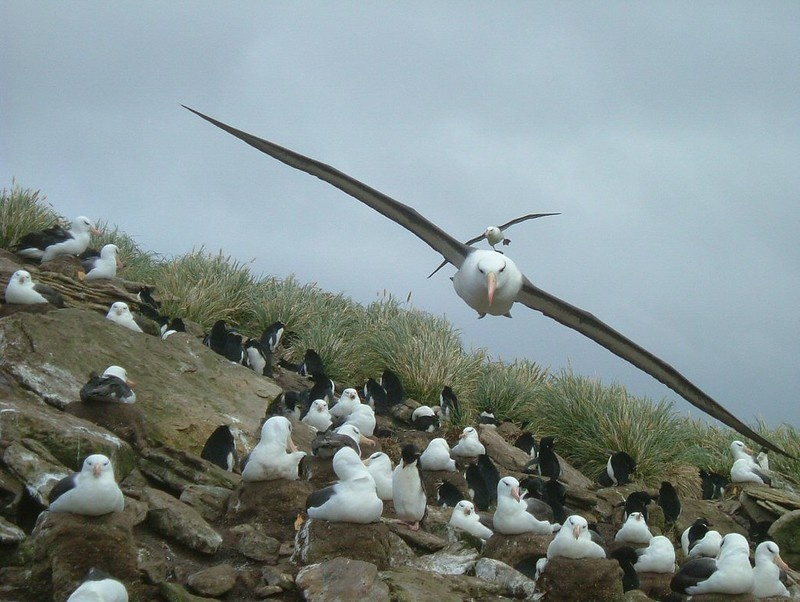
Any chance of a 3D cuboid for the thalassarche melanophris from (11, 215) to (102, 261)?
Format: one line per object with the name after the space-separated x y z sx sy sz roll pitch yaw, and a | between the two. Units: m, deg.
-6.041 -1.096 19.952 1.421 1.008 0.749 12 6 -4 | thalassarche melanophris
